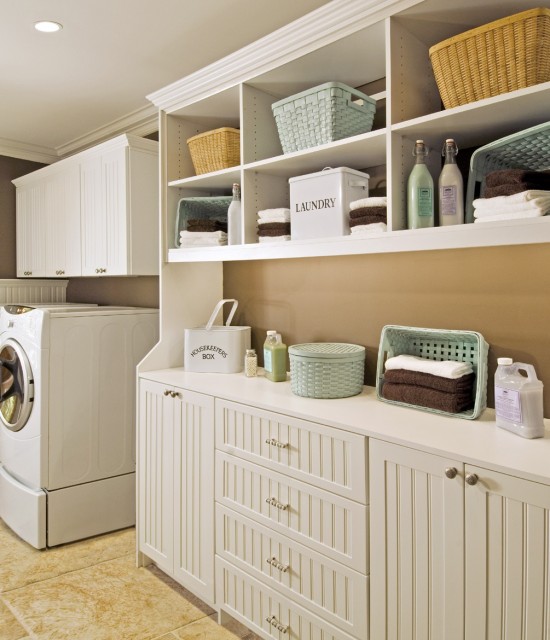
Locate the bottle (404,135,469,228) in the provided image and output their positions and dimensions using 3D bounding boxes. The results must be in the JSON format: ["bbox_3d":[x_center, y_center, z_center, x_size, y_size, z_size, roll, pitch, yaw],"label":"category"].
[{"bbox_3d":[0.464,-0.384,1.610,0.159,0.259,0.255,1,3,18],"label":"bottle"}]

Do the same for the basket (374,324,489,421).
[{"bbox_3d":[0.526,0.106,1.760,0.250,0.301,0.433,-2,2,-43],"label":"basket"}]

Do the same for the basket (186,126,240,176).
[{"bbox_3d":[-0.243,-0.668,2.264,0.176,0.119,0.246,-4,-1,-34],"label":"basket"}]

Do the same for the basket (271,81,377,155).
[{"bbox_3d":[0.161,-0.627,1.877,0.245,0.145,0.316,-3,3,-37],"label":"basket"}]

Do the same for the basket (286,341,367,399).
[{"bbox_3d":[0.151,0.161,1.933,0.210,0.119,0.204,-1,1,-27],"label":"basket"}]
